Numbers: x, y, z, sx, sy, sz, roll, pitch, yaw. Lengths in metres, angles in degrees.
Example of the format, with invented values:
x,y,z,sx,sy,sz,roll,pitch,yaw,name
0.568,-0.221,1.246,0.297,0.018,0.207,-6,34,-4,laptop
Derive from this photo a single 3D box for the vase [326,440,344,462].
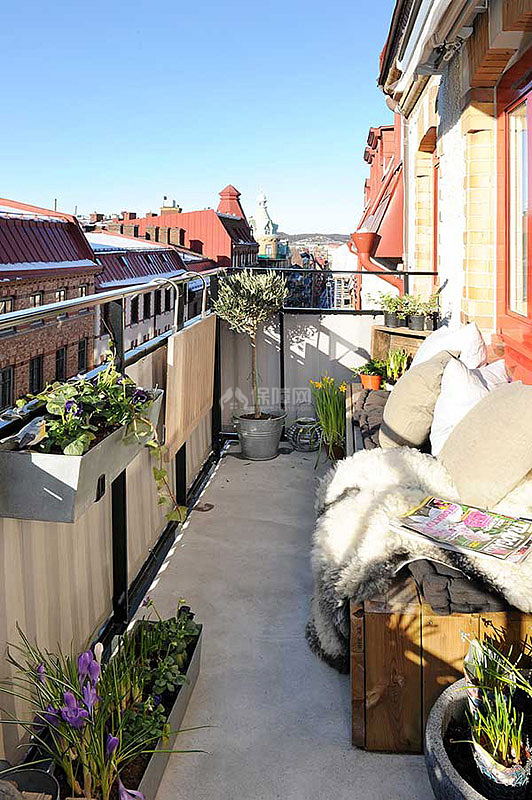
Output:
x,y,z,sx,sy,sz,roll,pitch,yaw,name
0.628,0.487,5.026,0.152,0.132,0.150,1,1,7,vase

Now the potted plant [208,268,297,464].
x,y,z,sx,sy,sz,roll,pitch,yaw,name
-0.123,-0.356,5.433,0.675,1.819,0.849,-3,5,1,potted plant

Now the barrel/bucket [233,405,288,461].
x,y,z,sx,sy,sz,roll,pitch,yaw,name
-0.070,0.353,5.335,0.474,0.419,0.493,0,7,0,barrel/bucket

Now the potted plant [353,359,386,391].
x,y,z,sx,sy,sz,roll,pitch,yaw,name
0.946,-0.237,4.942,0.227,0.293,0.275,2,6,18,potted plant

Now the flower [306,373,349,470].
x,y,z,sx,sy,sz,roll,pitch,yaw,name
0.597,0.210,5.132,0.346,0.783,0.347,4,-11,-32,flower

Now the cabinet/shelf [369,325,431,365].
x,y,z,sx,sy,sz,roll,pitch,yaw,name
1.227,-0.497,5.097,0.395,0.331,0.623,5,4,15,cabinet/shelf
